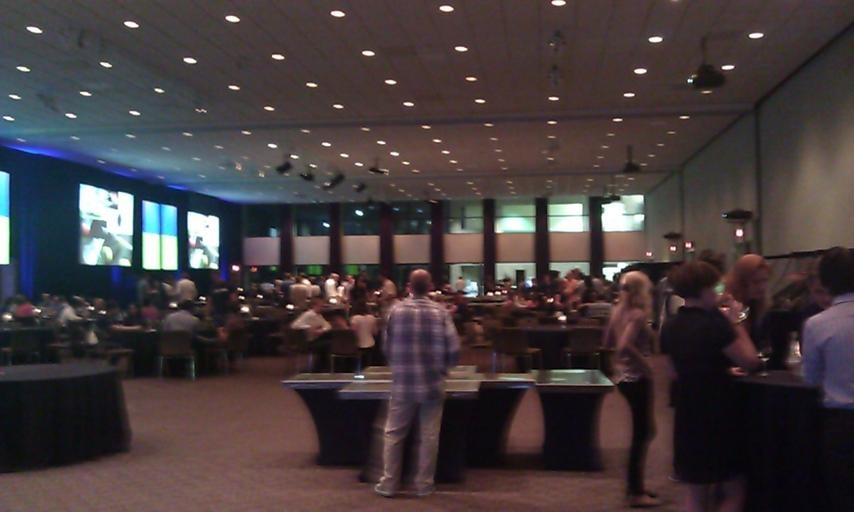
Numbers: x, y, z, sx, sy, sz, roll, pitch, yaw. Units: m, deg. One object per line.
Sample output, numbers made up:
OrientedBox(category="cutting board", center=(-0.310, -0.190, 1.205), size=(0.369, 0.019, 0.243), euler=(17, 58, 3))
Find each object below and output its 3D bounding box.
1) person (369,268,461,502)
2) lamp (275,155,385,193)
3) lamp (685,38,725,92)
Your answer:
OrientedBox(category="person", center=(-0.139, 1.553, 8.620), size=(1.059, 2.641, 0.748), euler=(-3, 13, -10))
OrientedBox(category="lamp", center=(-3.068, -2.550, 22.501), size=(2.193, 0.546, 1.339), euler=(10, -9, 2))
OrientedBox(category="lamp", center=(5.277, -3.612, 13.298), size=(0.582, 0.924, 2.180), euler=(4, 12, 20))
